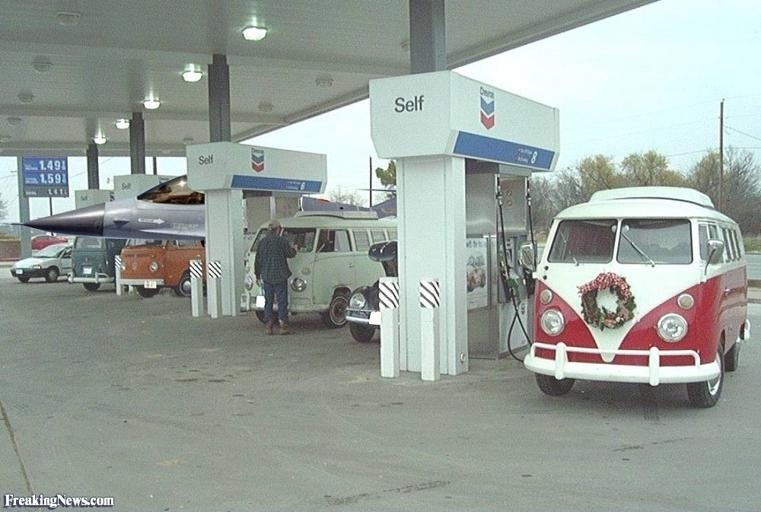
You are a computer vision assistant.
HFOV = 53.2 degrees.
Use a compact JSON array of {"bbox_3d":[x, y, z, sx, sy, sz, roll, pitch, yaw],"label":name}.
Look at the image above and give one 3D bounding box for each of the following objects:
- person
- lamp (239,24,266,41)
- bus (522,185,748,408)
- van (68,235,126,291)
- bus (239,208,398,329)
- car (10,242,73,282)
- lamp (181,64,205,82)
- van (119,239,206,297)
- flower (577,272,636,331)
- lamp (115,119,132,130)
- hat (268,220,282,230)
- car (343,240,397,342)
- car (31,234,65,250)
[{"bbox_3d":[-2.260,0.463,16.357,0.818,2.392,0.705,-1,2,-24],"label":"person"},{"bbox_3d":[-3.031,-5.352,18.416,0.598,0.294,1.277,0,2,-8],"label":"lamp"},{"bbox_3d":[4.284,0.531,11.793,1.940,2.189,4.025,-2,-4,32],"label":"bus"},{"bbox_3d":[-9.852,0.332,28.157,1.774,2.006,3.218,1,-5,19],"label":"van"},{"bbox_3d":[-1.119,0.116,17.905,2.072,2.028,3.819,-4,-3,37],"label":"bus"},{"bbox_3d":[-14.617,0.303,33.014,1.042,1.598,2.192,1,2,30],"label":"car"},{"bbox_3d":[-5.302,-5.135,21.405,0.517,0.512,0.528,0,-1,-9],"label":"lamp"},{"bbox_3d":[-6.971,0.093,24.762,1.715,1.988,3.247,1,1,16],"label":"van"},{"bbox_3d":[3.161,0.574,10.628,1.021,0.348,0.900,-37,26,-31],"label":"flower"},{"bbox_3d":[-9.647,-4.973,28.338,0.470,0.120,0.482,-3,-4,-2],"label":"lamp"},{"bbox_3d":[-2.312,-0.680,16.569,0.240,0.249,0.179,-23,26,-26],"label":"hat"},{"bbox_3d":[-0.176,0.719,14.974,1.000,2.035,1.403,0,1,-1],"label":"car"},{"bbox_3d":[-23.612,-1.000,54.022,2.557,0.898,1.237,5,8,29],"label":"car"}]
